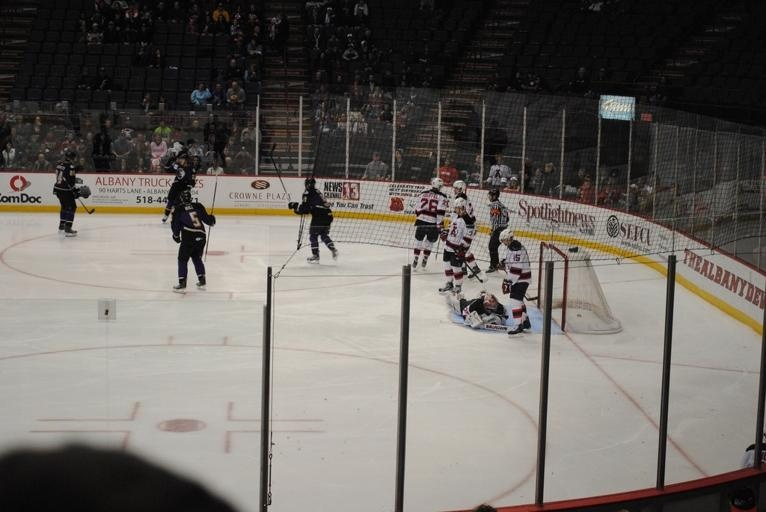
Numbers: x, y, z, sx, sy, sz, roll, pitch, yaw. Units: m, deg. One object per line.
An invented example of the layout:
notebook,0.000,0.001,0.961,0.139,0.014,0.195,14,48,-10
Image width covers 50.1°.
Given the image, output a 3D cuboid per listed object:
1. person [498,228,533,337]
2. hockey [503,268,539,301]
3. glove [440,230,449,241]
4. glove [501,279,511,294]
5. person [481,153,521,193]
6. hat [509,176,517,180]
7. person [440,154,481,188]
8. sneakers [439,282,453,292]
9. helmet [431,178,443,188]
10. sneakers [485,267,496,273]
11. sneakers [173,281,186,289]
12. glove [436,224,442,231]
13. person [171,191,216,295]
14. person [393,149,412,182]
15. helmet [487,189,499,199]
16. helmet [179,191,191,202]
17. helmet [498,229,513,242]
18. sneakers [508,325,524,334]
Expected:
person,2.147,0.498,13.385,0.652,0.827,1.842,2,45,6
hockey,2.108,0.421,12.846,0.343,0.528,0.732,3,11,4
glove,1.190,-0.417,16.129,0.202,0.185,0.052,-2,-38,25
glove,2.002,0.500,13.295,0.160,0.212,0.086,9,21,32
person,2.864,-2.045,19.923,0.800,0.813,0.228,5,12,18
hat,3.141,-1.875,19.748,0.106,0.073,0.105,5,5,17
person,1.955,-2.160,20.498,1.205,0.792,0.280,-2,-4,32
sneakers,1.108,0.567,14.913,0.354,0.203,0.117,2,6,24
helmet,1.094,-1.472,16.565,0.197,0.217,0.249,24,30,33
sneakers,2.205,0.279,16.747,0.127,0.143,0.357,0,-2,2
sneakers,-3.629,0.516,14.694,0.204,0.121,0.115,6,6,12
glove,1.139,-0.574,16.392,0.035,0.113,0.131,-2,0,-38
person,-3.402,-0.284,14.702,0.678,1.801,0.472,0,12,-12
person,0.481,-2.375,21.364,0.410,0.827,0.107,7,12,22
helmet,2.179,-1.243,16.353,0.249,0.226,0.198,10,18,31
helmet,-3.472,-1.044,14.428,0.163,0.197,0.205,7,2,19
helmet,1.999,-0.335,13.242,0.227,0.220,0.179,0,5,-18
sneakers,2.033,1.117,12.566,0.264,0.155,0.109,1,4,4
